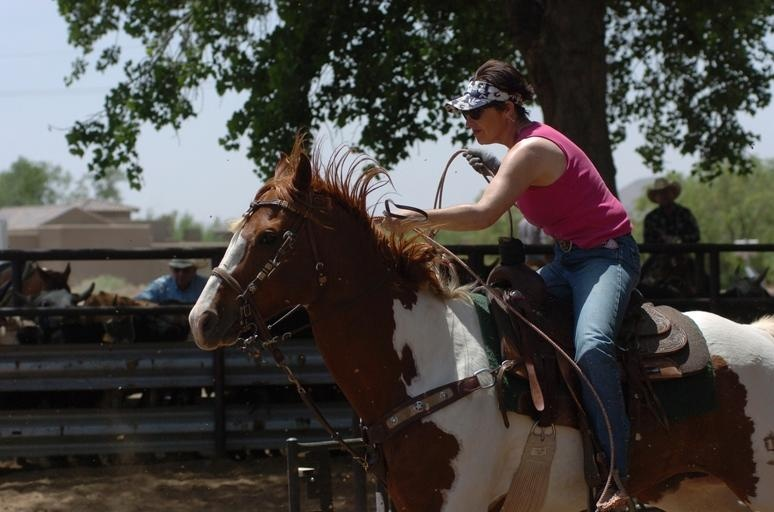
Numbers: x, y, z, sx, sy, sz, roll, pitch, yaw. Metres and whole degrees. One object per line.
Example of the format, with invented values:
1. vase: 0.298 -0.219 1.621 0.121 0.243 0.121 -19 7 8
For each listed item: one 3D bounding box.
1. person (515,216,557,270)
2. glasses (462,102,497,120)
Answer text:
1. person: 1.869 -0.150 15.353 0.191 0.775 0.455 -25 5 -16
2. glasses: 0.912 -1.431 12.286 0.222 0.102 0.323 3 27 42
